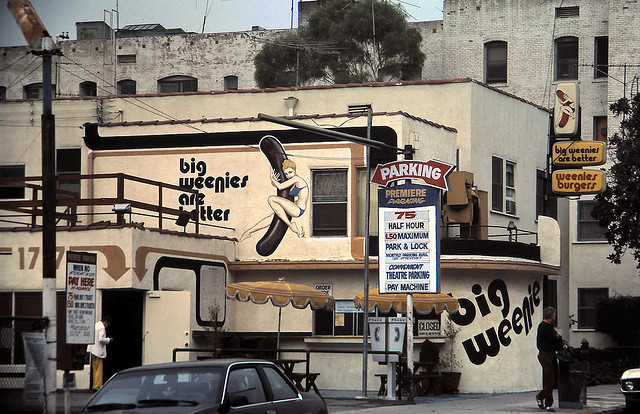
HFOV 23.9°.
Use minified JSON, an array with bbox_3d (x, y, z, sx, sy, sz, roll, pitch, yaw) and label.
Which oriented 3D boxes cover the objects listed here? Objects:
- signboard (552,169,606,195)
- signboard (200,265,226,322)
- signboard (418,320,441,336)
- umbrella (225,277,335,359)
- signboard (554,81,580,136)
[{"bbox_3d":[11.732,-1.098,68.902,2.639,1.258,0.493,-5,-9,39],"label":"signboard"},{"bbox_3d":[-4.622,3.597,63.492,0.376,2.307,1.506,-4,-8,31],"label":"signboard"},{"bbox_3d":[4.535,5.061,63.671,1.098,0.734,0.592,0,-14,2],"label":"signboard"},{"bbox_3d":[-1.798,4.564,62.069,4.544,3.606,4.270,5,3,-13],"label":"umbrella"},{"bbox_3d":[11.448,-4.473,70.578,1.144,2.442,0.524,-1,-7,8],"label":"signboard"}]
